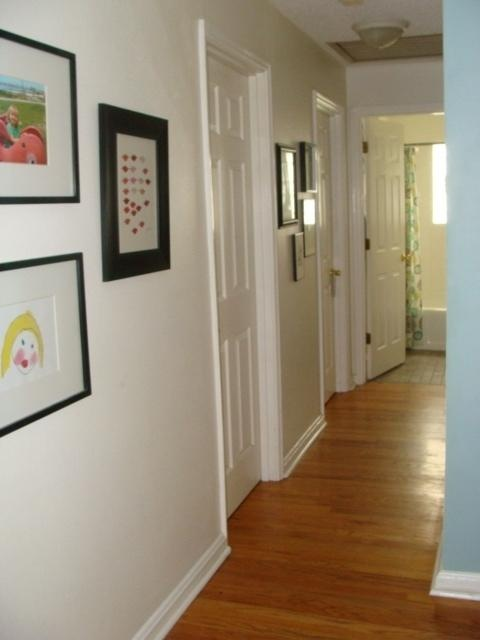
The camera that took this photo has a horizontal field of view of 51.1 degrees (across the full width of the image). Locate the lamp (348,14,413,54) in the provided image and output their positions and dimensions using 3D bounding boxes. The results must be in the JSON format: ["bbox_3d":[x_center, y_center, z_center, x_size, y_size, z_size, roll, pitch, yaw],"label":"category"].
[{"bbox_3d":[0.897,-1.819,3.205,0.355,0.105,0.240,-1,6,16],"label":"lamp"}]
